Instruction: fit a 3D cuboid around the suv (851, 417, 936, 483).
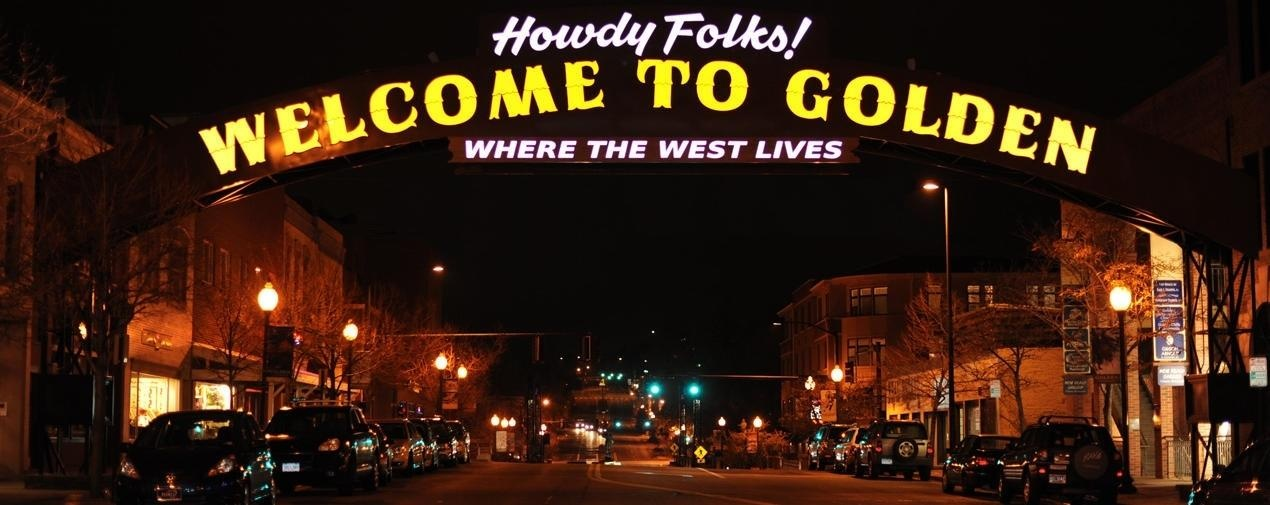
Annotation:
[{"bbox_3d":[16.653,12.841,77.514,4.157,3.375,8.762,0,-6,-1],"label":"suv"}]
